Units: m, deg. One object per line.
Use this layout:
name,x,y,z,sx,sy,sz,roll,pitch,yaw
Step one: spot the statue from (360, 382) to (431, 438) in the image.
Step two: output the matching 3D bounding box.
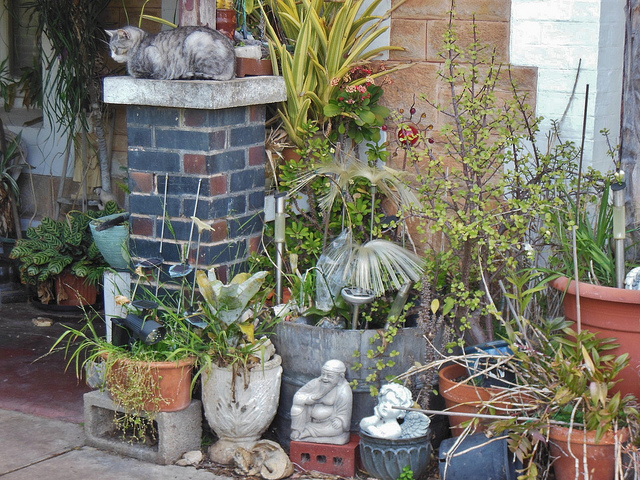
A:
statue,0.350,0.786,3.439,0.315,0.278,0.214,9,12,17

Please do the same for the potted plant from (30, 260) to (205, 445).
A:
potted plant,-0.948,0.554,3.812,0.720,0.563,0.805,3,7,-39

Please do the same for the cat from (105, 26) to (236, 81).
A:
cat,-0.835,-1.029,4.046,0.761,0.296,0.244,7,9,28

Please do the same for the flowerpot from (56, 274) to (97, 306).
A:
flowerpot,-1.838,0.359,5.700,0.228,0.249,0.215,-14,6,-32

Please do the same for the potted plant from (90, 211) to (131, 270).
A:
potted plant,-1.235,-0.016,4.402,0.298,0.304,0.335,-3,4,-17

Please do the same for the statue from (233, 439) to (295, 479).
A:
statue,-0.285,1.064,3.592,0.306,0.147,0.120,5,9,18

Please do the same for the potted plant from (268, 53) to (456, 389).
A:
potted plant,-0.061,-0.013,4.041,0.824,1.652,0.974,-5,25,-22

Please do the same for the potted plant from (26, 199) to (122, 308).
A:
potted plant,-1.867,0.085,5.752,0.758,0.727,0.752,-2,5,-37

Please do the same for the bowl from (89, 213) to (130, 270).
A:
bowl,-1.197,0.001,4.350,0.296,0.313,0.281,-3,3,0

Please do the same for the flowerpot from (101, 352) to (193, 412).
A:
flowerpot,-0.843,0.709,3.640,0.408,0.262,0.134,1,8,-10

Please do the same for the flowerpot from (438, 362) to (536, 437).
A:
flowerpot,0.721,0.665,3.459,0.347,0.294,0.370,-2,3,-5
